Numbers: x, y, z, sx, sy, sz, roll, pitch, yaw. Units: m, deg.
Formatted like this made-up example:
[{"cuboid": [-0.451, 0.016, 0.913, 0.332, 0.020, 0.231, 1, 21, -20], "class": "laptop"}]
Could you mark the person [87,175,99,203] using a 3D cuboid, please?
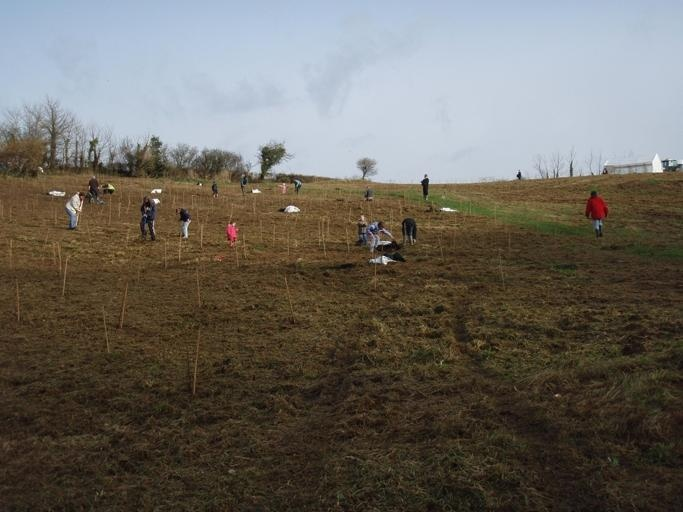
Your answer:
[{"cuboid": [-12.700, -3.382, 31.786, 0.507, 1.294, 1.642, 0, 5, -23], "class": "person"}]

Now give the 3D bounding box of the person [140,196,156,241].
[{"cuboid": [-7.473, -1.449, 24.046, 0.532, 1.626, 2.173, 1, 4, -17], "class": "person"}]

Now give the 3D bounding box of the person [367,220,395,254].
[{"cuboid": [1.463, -0.666, 23.260, 0.603, 1.222, 0.768, 7, 39, 13], "class": "person"}]

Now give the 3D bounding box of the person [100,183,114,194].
[{"cuboid": [-13.220, -3.813, 35.224, 0.792, 0.608, 1.043, 3, 1, -26], "class": "person"}]

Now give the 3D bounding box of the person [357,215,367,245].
[{"cuboid": [0.839, -0.994, 23.963, 0.338, 1.148, 1.164, 2, 4, 1], "class": "person"}]

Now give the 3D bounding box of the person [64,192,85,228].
[{"cuboid": [-11.028, -1.909, 25.683, 0.584, 1.484, 3.344, 0, 5, -23], "class": "person"}]
